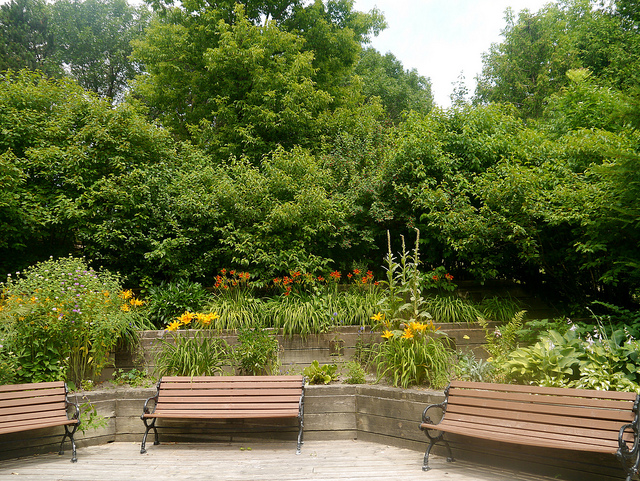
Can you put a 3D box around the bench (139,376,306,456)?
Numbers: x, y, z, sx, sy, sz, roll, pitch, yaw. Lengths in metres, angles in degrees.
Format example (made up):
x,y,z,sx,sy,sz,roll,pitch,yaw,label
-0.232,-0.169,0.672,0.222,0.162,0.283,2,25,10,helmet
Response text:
x,y,z,sx,sy,sz,roll,pitch,yaw,label
-1.376,2.785,8.348,3.013,1.291,1.054,1,-13,2,bench
